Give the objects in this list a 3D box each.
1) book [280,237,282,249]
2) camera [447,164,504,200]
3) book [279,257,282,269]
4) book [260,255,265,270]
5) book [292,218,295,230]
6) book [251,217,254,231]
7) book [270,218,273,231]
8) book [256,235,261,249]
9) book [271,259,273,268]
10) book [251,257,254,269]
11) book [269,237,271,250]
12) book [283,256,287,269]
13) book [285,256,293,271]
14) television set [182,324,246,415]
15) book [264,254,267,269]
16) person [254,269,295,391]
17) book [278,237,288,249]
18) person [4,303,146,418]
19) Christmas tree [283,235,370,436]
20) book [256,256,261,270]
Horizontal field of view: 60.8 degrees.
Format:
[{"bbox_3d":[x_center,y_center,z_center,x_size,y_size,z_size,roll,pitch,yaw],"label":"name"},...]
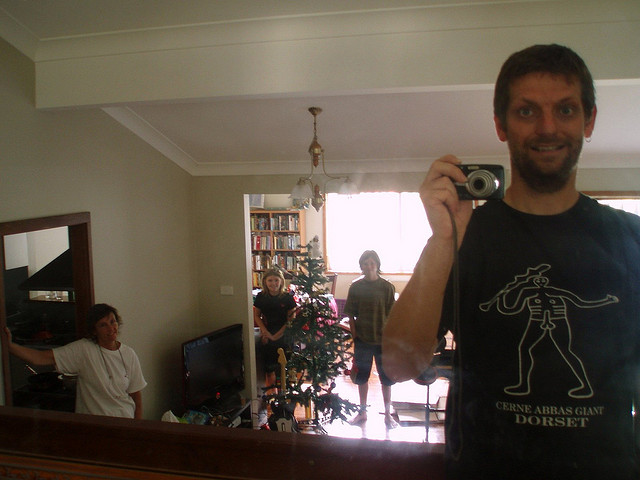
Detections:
[{"bbox_3d":[-0.671,0.061,9.303,0.039,0.178,0.019,-4,-1,24],"label":"book"},{"bbox_3d":[0.409,-0.150,1.463,0.168,0.096,0.048,-6,4,-7],"label":"camera"},{"bbox_3d":[-0.681,0.347,9.244,0.027,0.157,0.038,-4,-1,-3],"label":"book"},{"bbox_3d":[-1.006,0.382,9.290,0.039,0.229,0.068,-4,-1,16],"label":"book"},{"bbox_3d":[-0.461,-0.277,9.322,0.033,0.183,0.008,-4,-1,7],"label":"book"},{"bbox_3d":[-1.162,-0.289,9.401,0.046,0.208,0.044,-4,-1,-7],"label":"book"},{"bbox_3d":[-0.831,-0.277,9.339,0.044,0.202,0.018,-4,-1,-12],"label":"book"},{"bbox_3d":[-1.059,0.034,9.344,0.088,0.221,0.034,-4,-1,-9],"label":"book"},{"bbox_3d":[-0.819,0.369,9.255,0.025,0.116,0.029,-4,-1,-3],"label":"book"},{"bbox_3d":[-1.146,0.403,9.287,0.026,0.176,0.107,-4,0,-7],"label":"book"},{"bbox_3d":[-0.855,0.061,9.311,0.043,0.191,0.011,-4,-1,41],"label":"book"},{"bbox_3d":[-0.584,0.381,9.025,0.110,0.209,0.212,0,1,0],"label":"book"},{"bbox_3d":[-0.513,0.391,9.166,0.173,0.240,0.241,1,-3,3],"label":"book"},{"bbox_3d":[-0.982,1.270,5.197,0.776,0.746,0.235,-26,-28,25],"label":"television set"},{"bbox_3d":[-0.935,0.369,9.298,0.048,0.229,0.054,-4,-1,-6],"label":"book"},{"bbox_3d":[-0.479,0.965,5.609,0.430,1.423,0.389,5,18,2],"label":"person"},{"bbox_3d":[-0.621,0.030,9.342,0.212,0.218,0.159,-1,4,11],"label":"book"},{"bbox_3d":[-1.564,0.862,3.637,0.751,0.707,0.400,-4,0,-24],"label":"person"},{"bbox_3d":[-0.006,0.728,3.876,0.522,1.355,0.405,-4,0,-5],"label":"Christmas tree"},{"bbox_3d":[-1.065,0.386,9.282,0.064,0.213,0.030,-4,-1,1],"label":"book"}]
